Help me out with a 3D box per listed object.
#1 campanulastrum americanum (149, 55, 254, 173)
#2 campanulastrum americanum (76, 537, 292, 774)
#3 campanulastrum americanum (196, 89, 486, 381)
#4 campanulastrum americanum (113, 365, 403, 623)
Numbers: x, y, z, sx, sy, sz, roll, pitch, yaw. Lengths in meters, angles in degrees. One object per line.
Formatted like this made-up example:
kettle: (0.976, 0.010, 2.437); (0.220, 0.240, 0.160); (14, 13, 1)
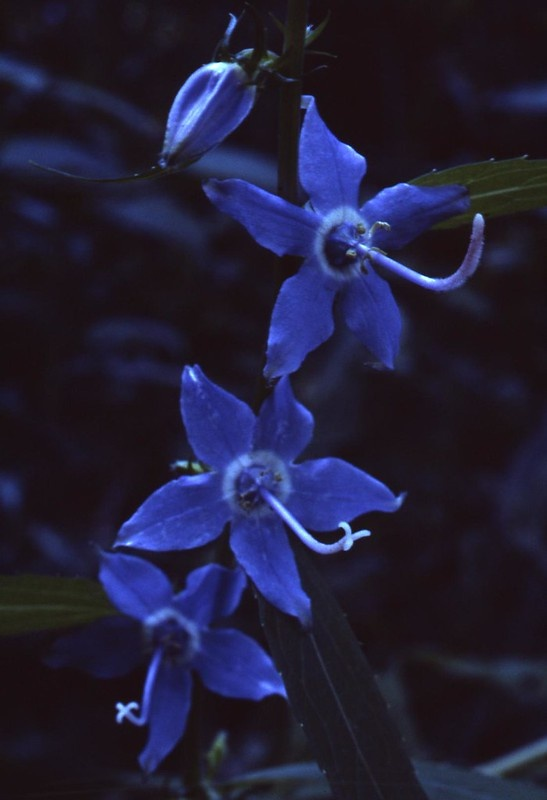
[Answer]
campanulastrum americanum: (-0.037, -0.159, 0.475); (0.040, 0.023, 0.077); (44, -91, 2)
campanulastrum americanum: (-0.077, 0.158, 0.570); (0.138, 0.134, 0.044); (16, -44, -15)
campanulastrum americanum: (0.042, -0.095, 0.528); (0.185, 0.060, 0.160); (-10, -46, -26)
campanulastrum americanum: (0.003, 0.054, 0.486); (0.149, 0.109, 0.095); (20, -58, -25)
